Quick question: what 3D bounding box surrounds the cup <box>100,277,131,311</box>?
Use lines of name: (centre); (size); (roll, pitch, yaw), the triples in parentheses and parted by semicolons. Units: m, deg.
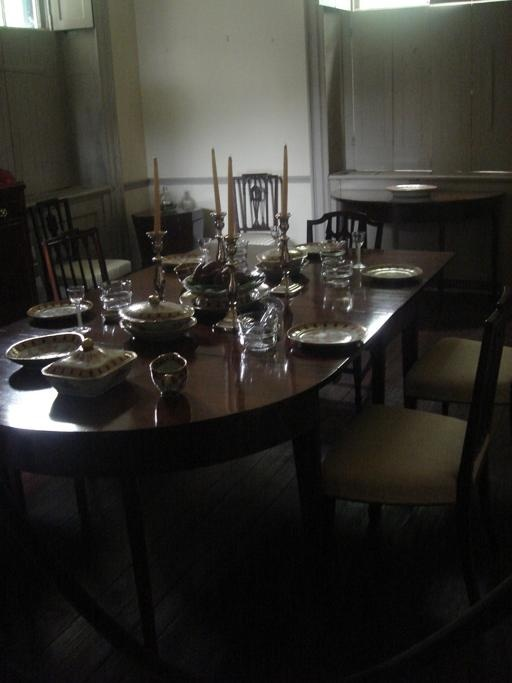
cup: (-0.554, -0.195, 2.027); (0.095, 0.110, 0.130); (4, 12, 18)

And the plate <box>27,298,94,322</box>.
plate: (-0.794, -0.125, 2.045); (0.124, 0.021, 0.143); (2, 23, 2)

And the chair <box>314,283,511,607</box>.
chair: (0.510, 0.171, 1.854); (0.652, 1.245, 0.735); (10, 25, 29)

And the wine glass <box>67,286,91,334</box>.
wine glass: (-0.677, -0.115, 1.948); (0.071, 0.228, 0.088); (-11, 30, -15)

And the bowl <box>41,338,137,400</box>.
bowl: (-0.419, 0.020, 1.325); (0.138, 0.113, 0.190); (10, 19, 24)

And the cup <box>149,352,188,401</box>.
cup: (-0.222, 0.099, 1.312); (0.079, 0.104, 0.110); (-3, 21, -9)

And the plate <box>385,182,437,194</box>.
plate: (1.315, -1.288, 4.344); (0.363, 0.088, 0.423); (1, 21, 20)

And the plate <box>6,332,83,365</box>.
plate: (-0.660, 0.019, 1.586); (0.145, 0.048, 0.203); (10, 24, 19)

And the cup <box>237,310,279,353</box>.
cup: (0.012, -0.033, 1.676); (0.112, 0.137, 0.092); (1, 9, 30)

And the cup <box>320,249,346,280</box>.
cup: (0.355, -0.376, 2.410); (0.126, 0.186, 0.146); (-1, 12, 1)
